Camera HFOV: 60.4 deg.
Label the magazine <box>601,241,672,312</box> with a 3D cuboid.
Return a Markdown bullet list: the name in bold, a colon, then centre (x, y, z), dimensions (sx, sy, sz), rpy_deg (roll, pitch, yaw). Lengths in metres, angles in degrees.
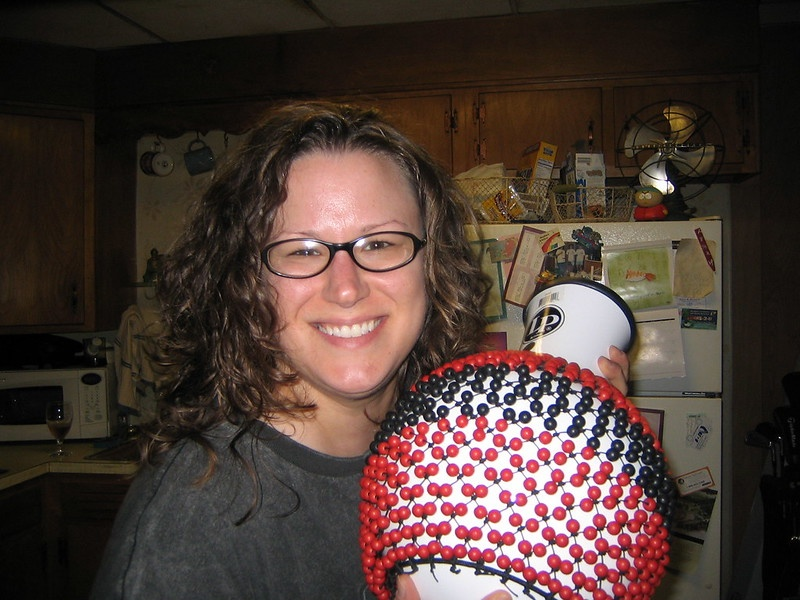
- **magazine**: centre (0.912, -0.104, 2.624), dimensions (0.241, 0.243, 0.027), rpy_deg (-12, 11, 11)

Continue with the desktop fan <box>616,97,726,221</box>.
- **desktop fan**: centre (1.196, -0.658, 3.088), dimensions (0.554, 0.640, 0.367), rpy_deg (0, -13, 10)

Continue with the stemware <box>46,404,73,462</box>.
- **stemware**: centre (-1.540, 0.568, 3.106), dimensions (0.096, 0.238, 0.256), rpy_deg (2, -2, -27)

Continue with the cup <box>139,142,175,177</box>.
- **cup**: centre (-1.345, -0.784, 3.805), dimensions (0.119, 0.220, 0.165), rpy_deg (9, -2, 30)

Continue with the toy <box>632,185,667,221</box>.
- **toy**: centre (1.059, -0.397, 2.873), dimensions (0.171, 0.151, 0.128), rpy_deg (1, -2, -3)

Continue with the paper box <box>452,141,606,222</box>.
- **paper box**: centre (0.578, -0.503, 2.924), dimensions (0.429, 0.179, 0.531), rpy_deg (3, -11, -8)

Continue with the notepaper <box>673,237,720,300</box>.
- **notepaper**: centre (1.172, -0.123, 2.701), dimensions (0.165, 0.245, 0.057), rpy_deg (1, -2, 0)
